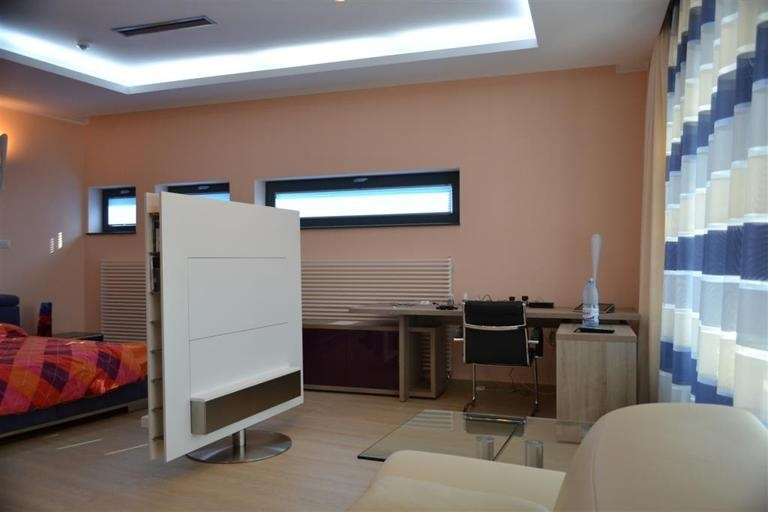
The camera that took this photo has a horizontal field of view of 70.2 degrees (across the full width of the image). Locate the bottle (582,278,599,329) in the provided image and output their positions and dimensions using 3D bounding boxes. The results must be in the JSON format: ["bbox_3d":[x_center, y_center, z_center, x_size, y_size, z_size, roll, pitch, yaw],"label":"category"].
[{"bbox_3d":[2.086,0.463,5.495,0.138,0.464,0.304,2,7,18],"label":"bottle"}]

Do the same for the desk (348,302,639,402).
[{"bbox_3d":[1.111,1.122,6.460,2.777,0.967,0.886,-1,1,-1],"label":"desk"}]

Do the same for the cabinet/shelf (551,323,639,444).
[{"bbox_3d":[2.023,1.177,5.359,0.729,0.964,0.694,0,8,-21],"label":"cabinet/shelf"}]

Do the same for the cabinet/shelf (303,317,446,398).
[{"bbox_3d":[-0.192,1.253,6.888,1.794,0.781,0.582,-1,-5,20],"label":"cabinet/shelf"}]
